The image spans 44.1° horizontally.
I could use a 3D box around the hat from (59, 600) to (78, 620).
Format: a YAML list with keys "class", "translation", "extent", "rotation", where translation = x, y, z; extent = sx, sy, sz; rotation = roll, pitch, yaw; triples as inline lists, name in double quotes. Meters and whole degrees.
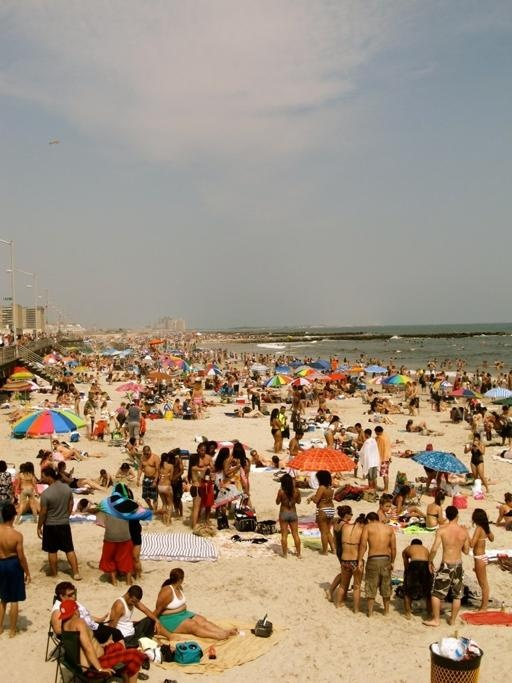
- class: "hat"
  translation: [-1.649, 2.344, 5.543]
  extent: [0.155, 0.130, 0.206]
  rotation: [1, -1, -15]

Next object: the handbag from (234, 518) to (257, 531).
- class: "handbag"
  translation: [-0.164, 3.062, 10.554]
  extent: [0.286, 0.178, 0.260]
  rotation: [3, 14, -4]
